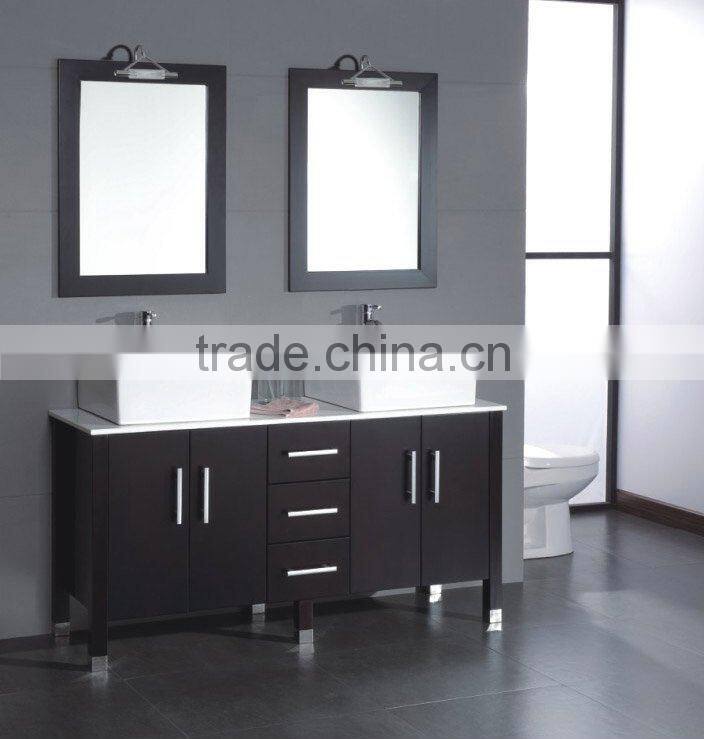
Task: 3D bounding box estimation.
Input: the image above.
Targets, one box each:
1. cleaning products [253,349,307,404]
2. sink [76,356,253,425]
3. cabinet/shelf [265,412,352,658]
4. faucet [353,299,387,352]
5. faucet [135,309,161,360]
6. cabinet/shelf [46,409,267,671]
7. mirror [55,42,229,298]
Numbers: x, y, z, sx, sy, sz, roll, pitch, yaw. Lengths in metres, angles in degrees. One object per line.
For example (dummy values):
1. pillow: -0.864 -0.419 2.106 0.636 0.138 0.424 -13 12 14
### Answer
1. cleaning products: -0.261 0.025 2.873 0.161 0.166 0.070 -1 4 -28
2. sink: -0.561 0.061 2.499 0.523 0.195 0.479 0 0 -19
3. cabinet/shelf: -0.152 0.494 2.642 0.266 0.769 0.273 -3 15 -15
4. faucet: 0.062 -0.156 2.923 0.104 0.182 0.280 0 0 1
5. faucet: -0.661 -0.106 2.643 0.066 0.166 0.059 0 0 -16
6. cabinet/shelf: -0.599 0.459 2.543 0.560 0.706 0.455 3 -6 -41
7. mirror: -0.680 -0.613 2.704 0.583 0.873 0.072 -6 44 -22
